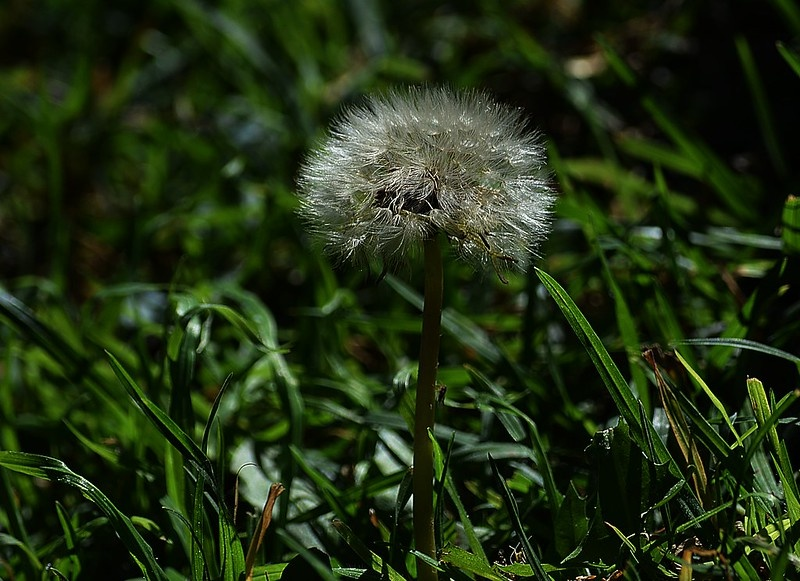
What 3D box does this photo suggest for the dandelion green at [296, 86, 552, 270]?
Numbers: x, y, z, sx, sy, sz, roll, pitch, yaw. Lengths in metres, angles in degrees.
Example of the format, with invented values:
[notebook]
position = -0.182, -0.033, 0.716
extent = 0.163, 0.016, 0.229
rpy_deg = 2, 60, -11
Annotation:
[dandelion green]
position = 0.052, -0.193, 1.391
extent = 0.314, 0.260, 0.307
rpy_deg = -6, 17, -25
